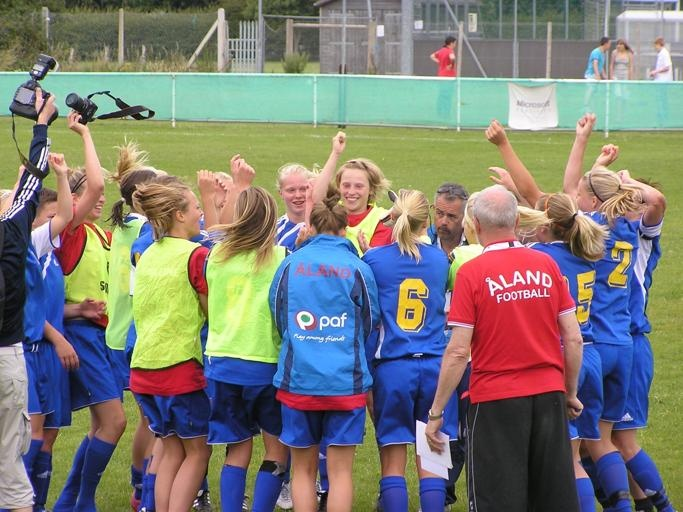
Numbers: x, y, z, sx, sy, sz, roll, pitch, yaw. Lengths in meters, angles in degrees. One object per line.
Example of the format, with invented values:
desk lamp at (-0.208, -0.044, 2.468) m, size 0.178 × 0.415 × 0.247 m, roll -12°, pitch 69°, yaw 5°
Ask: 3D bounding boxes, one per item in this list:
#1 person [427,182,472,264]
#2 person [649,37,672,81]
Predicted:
person at (1.290, -0.381, 14.030) m, size 0.490 × 0.919 × 0.530 m, roll 8°, pitch 18°, yaw 4°
person at (8.395, -5.188, 32.247) m, size 0.534 × 1.180 × 3.033 m, roll 1°, pitch 6°, yaw 14°
